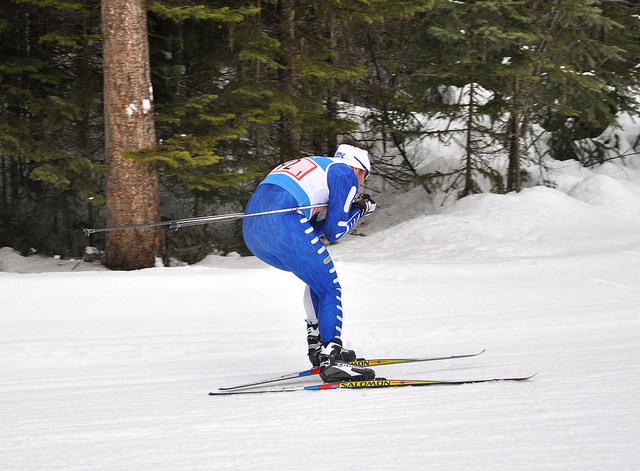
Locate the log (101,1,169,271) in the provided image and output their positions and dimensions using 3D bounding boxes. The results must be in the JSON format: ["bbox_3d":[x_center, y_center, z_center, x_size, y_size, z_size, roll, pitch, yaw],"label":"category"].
[{"bbox_3d":[-3.090,-1.627,14.246,1.018,4.392,0.632,-1,9,-9],"label":"log"}]

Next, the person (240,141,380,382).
[{"bbox_3d":[-0.132,0.297,10.781,1.616,2.952,0.786,0,8,1],"label":"person"}]
